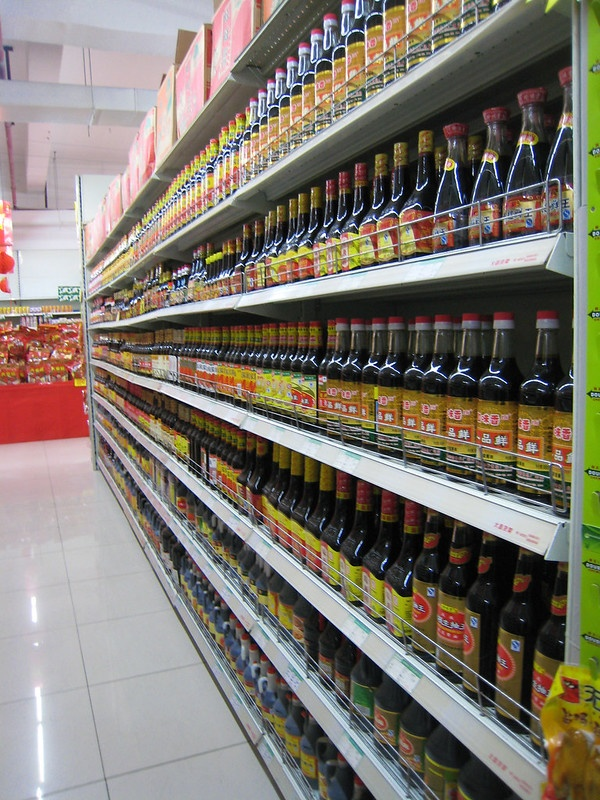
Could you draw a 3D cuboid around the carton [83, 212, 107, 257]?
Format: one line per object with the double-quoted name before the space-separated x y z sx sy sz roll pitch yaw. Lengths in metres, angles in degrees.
"carton" -2.138 -1.745 5.980 0.083 0.140 0.601 -3 -5 -34
